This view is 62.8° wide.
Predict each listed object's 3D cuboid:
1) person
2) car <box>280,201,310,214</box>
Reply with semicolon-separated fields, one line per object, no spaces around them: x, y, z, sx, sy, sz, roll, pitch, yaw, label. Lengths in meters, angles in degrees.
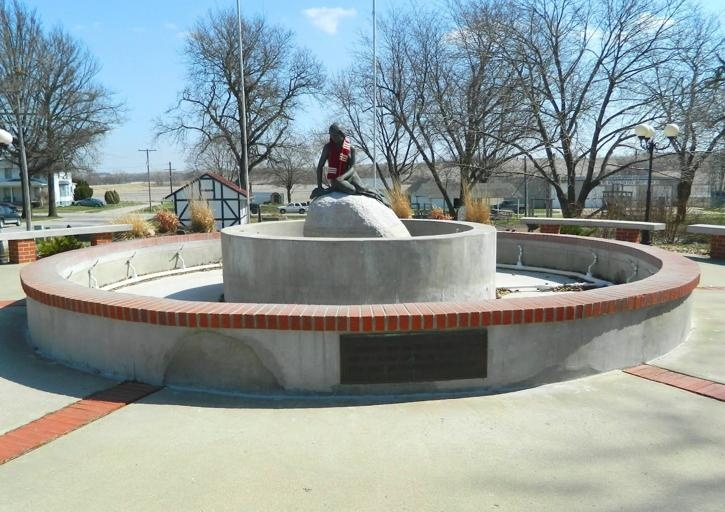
-0.389;-1.680;10.511;0.966;1.351;1.032;-3;8;-25;person
-6.500;-4.548;55.932;2.488;0.868;5.859;-1;7;-8;car
